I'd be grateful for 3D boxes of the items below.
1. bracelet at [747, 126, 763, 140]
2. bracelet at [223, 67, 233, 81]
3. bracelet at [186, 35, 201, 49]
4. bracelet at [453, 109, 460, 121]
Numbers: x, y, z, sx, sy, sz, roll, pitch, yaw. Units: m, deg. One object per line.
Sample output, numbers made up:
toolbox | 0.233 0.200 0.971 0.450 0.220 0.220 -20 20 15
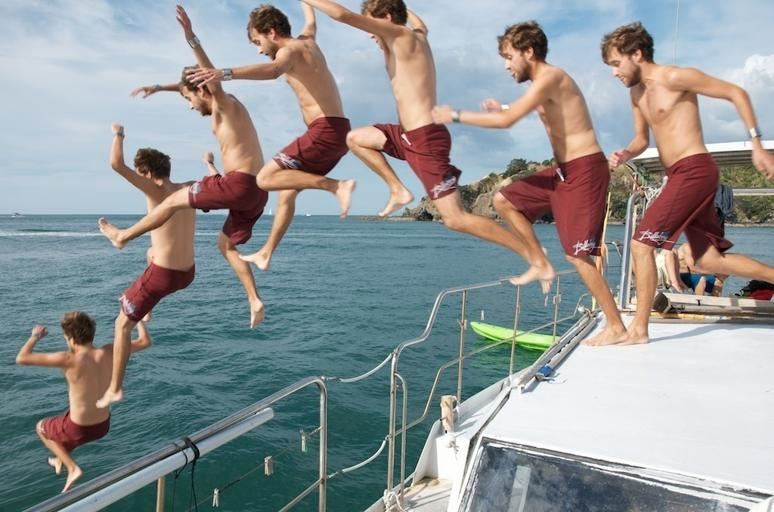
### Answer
bracelet | 4.011 -1.366 6.081 0.085 0.132 0.178 -3 5 4
bracelet | -1.695 -1.987 6.026 0.112 0.153 0.251 -5 6 -19
bracelet | -2.200 -2.513 6.431 0.126 0.163 0.220 -5 6 -18
bracelet | 0.737 -1.504 5.920 0.088 0.114 0.022 0 6 28
